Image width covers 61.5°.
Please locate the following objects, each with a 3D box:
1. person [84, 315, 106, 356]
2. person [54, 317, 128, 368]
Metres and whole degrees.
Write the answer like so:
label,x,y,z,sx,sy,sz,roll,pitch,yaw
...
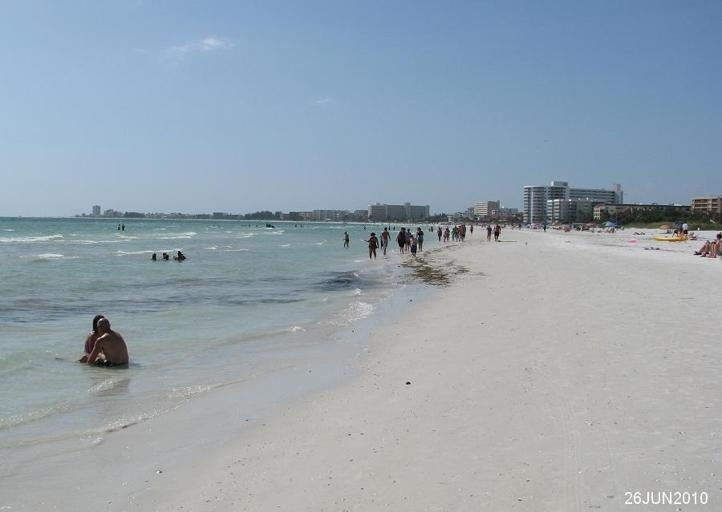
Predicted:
label,x,y,z,sx,sy,sz,roll,pitch,yaw
person,-5.535,1.689,12.613,0.423,0.969,0.444,3,30,-37
person,-5.284,1.779,12.166,1.263,0.945,0.733,3,0,19
